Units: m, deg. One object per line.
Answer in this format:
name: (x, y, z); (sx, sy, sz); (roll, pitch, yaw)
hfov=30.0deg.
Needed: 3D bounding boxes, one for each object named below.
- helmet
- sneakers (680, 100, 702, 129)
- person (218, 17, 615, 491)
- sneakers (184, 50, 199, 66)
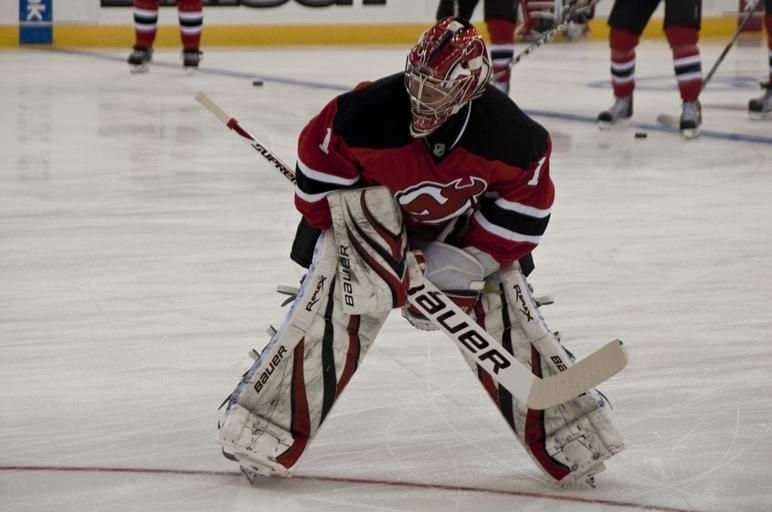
helmet: (0.290, -0.828, 6.552); (0.371, 0.396, 0.499); (28, 42, 30)
sneakers: (2.078, -0.957, 9.808); (0.138, 0.202, 0.236); (7, 13, 9)
person: (0.174, -0.017, 6.472); (1.693, 2.074, 0.627); (3, 15, -6)
sneakers: (-1.605, -1.662, 12.106); (0.137, 0.092, 0.129); (-2, 30, -7)
